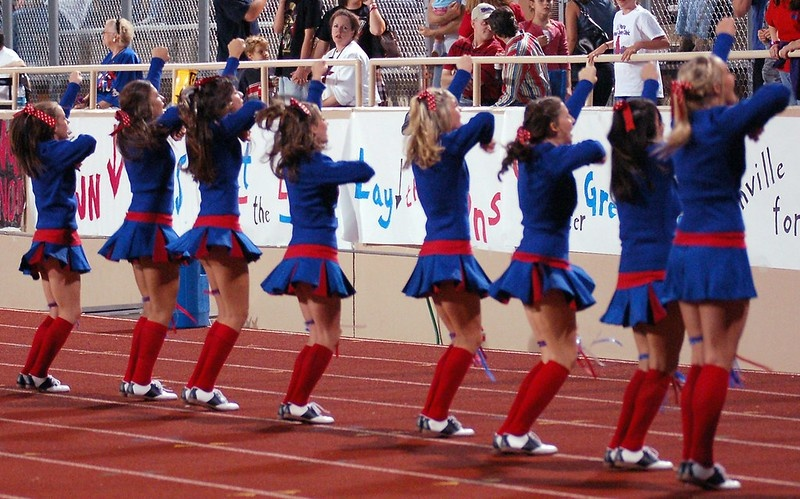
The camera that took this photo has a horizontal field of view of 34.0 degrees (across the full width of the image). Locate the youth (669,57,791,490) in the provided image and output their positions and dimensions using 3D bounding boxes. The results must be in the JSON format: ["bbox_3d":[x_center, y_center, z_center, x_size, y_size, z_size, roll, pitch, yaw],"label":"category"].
[{"bbox_3d":[2.407,0.167,10.081,0.735,3.282,0.575,-2,8,-14],"label":"youth"}]

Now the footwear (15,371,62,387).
[{"bbox_3d":[-3.398,1.262,12.412,0.407,0.193,0.170,5,0,-13],"label":"footwear"}]

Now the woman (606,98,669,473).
[{"bbox_3d":[1.942,0.267,10.402,0.647,2.902,0.534,1,8,9],"label":"woman"}]

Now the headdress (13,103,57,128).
[{"bbox_3d":[-3.419,-1.249,12.222,0.399,0.204,0.141,3,9,19],"label":"headdress"}]

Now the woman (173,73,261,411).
[{"bbox_3d":[-1.635,-0.061,11.844,0.743,2.977,0.446,-2,8,-11],"label":"woman"}]

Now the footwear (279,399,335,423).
[{"bbox_3d":[-0.812,1.432,11.491,0.378,0.188,0.209,4,-1,-11],"label":"footwear"}]

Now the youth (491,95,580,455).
[{"bbox_3d":[1.174,0.220,10.666,0.758,2.879,0.513,1,8,4],"label":"youth"}]

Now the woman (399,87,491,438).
[{"bbox_3d":[0.428,0.120,11.077,0.722,2.913,0.349,0,8,1],"label":"woman"}]

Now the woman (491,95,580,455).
[{"bbox_3d":[1.171,0.220,10.663,0.752,2.879,0.506,0,8,4],"label":"woman"}]

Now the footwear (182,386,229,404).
[{"bbox_3d":[-1.765,1.285,11.878,0.406,0.205,0.160,1,3,-21],"label":"footwear"}]

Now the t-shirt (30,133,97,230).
[{"bbox_3d":[-3.150,-0.632,12.246,0.644,0.899,0.391,0,8,-3],"label":"t-shirt"}]

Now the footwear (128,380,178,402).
[{"bbox_3d":[-2.289,1.318,12.146,0.453,0.220,0.188,2,-2,-15],"label":"footwear"}]

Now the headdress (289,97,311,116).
[{"bbox_3d":[-0.860,-1.243,11.362,0.140,0.161,0.055,-23,-5,17],"label":"headdress"}]

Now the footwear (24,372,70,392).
[{"bbox_3d":[-3.336,1.243,12.364,0.361,0.180,0.158,2,1,-14],"label":"footwear"}]

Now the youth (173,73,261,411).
[{"bbox_3d":[-1.635,-0.061,11.844,0.743,2.977,0.446,-2,8,-11],"label":"youth"}]

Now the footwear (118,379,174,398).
[{"bbox_3d":[-2.346,1.316,12.155,0.473,0.216,0.197,4,-3,-14],"label":"footwear"}]

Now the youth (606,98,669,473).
[{"bbox_3d":[1.942,0.267,10.402,0.647,2.902,0.534,1,8,9],"label":"youth"}]

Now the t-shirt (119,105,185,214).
[{"bbox_3d":[-2.275,-0.755,12.284,0.744,1.169,0.809,-2,1,-5],"label":"t-shirt"}]

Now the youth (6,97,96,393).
[{"bbox_3d":[-3.277,-0.152,12.392,0.690,2.995,1.156,3,-9,-32],"label":"youth"}]

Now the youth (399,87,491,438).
[{"bbox_3d":[0.428,0.120,11.077,0.722,2.913,0.349,0,8,1],"label":"youth"}]

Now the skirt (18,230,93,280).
[{"bbox_3d":[-3.273,-0.057,12.404,0.522,0.555,0.488,2,4,6],"label":"skirt"}]

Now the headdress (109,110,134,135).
[{"bbox_3d":[-2.569,-1.174,11.989,0.142,0.222,0.268,-6,11,-33],"label":"headdress"}]

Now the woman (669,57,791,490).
[{"bbox_3d":[2.407,0.167,10.081,0.735,3.282,0.575,-2,8,-14],"label":"woman"}]
